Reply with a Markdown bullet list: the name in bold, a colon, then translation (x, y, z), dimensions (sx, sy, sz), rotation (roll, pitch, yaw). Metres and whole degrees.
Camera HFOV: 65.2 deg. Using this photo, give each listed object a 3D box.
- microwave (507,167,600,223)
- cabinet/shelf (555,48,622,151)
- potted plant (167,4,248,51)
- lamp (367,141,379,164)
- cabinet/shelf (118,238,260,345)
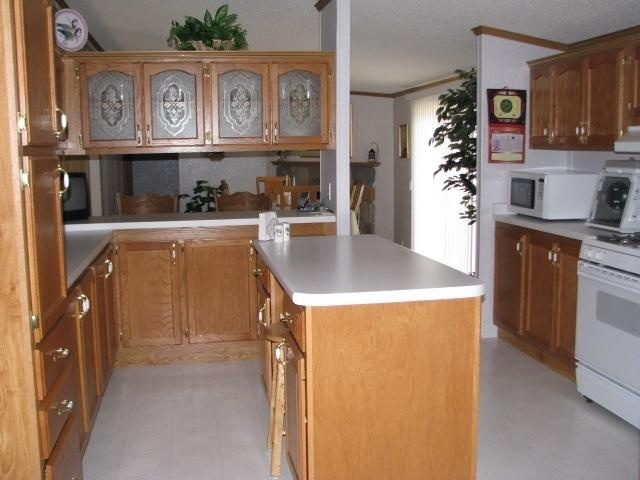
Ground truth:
- **microwave**: translation (1.942, -0.417, 4.197), dimensions (0.439, 0.406, 0.630), rotation (-3, 12, -9)
- **cabinet/shelf**: translation (1.990, -1.083, 3.949), dimensions (0.703, 0.661, 0.273), rotation (-9, 14, -18)
- **potted plant**: translation (-0.984, -1.892, 4.428), dimensions (0.564, 0.323, 0.707), rotation (-1, 9, -13)
- **lamp**: translation (0.953, -1.577, 8.908), dimensions (0.203, 0.365, 0.448), rotation (1, 12, 6)
- **cabinet/shelf**: translation (-1.023, 0.470, 4.325), dimensions (1.326, 0.973, 0.492), rotation (-5, -6, 17)
